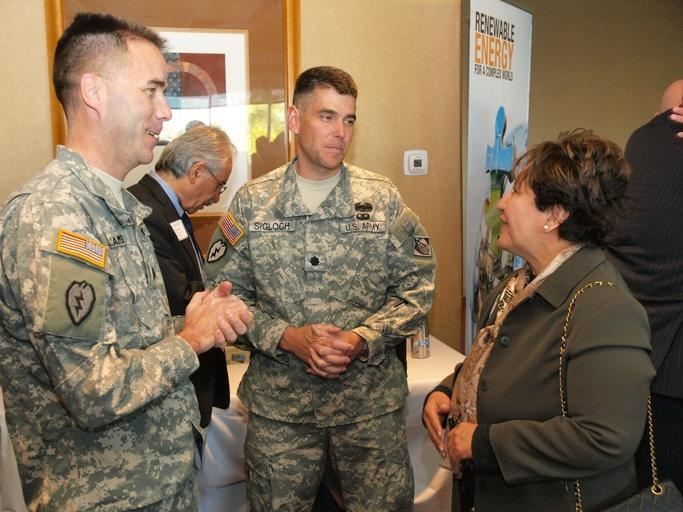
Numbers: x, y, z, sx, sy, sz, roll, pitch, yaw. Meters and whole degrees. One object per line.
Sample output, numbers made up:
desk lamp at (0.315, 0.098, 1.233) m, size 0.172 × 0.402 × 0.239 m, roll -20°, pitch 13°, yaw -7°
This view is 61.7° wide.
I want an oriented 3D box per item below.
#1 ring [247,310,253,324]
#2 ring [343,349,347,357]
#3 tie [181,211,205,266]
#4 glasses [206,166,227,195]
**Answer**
ring at (-0.290, 0.194, 1.790) m, size 0.009 × 0.031 × 0.022 m, roll -2°, pitch 10°, yaw 32°
ring at (0.017, 0.351, 2.086) m, size 0.013 × 0.024 × 0.020 m, roll 3°, pitch 9°, yaw 33°
tie at (-0.749, -0.095, 2.855) m, size 0.048 × 0.042 × 0.357 m, roll -32°, pitch 47°, yaw 11°
glasses at (-0.633, -0.375, 2.846) m, size 0.097 × 0.028 × 0.093 m, roll 46°, pitch 12°, yaw 16°
